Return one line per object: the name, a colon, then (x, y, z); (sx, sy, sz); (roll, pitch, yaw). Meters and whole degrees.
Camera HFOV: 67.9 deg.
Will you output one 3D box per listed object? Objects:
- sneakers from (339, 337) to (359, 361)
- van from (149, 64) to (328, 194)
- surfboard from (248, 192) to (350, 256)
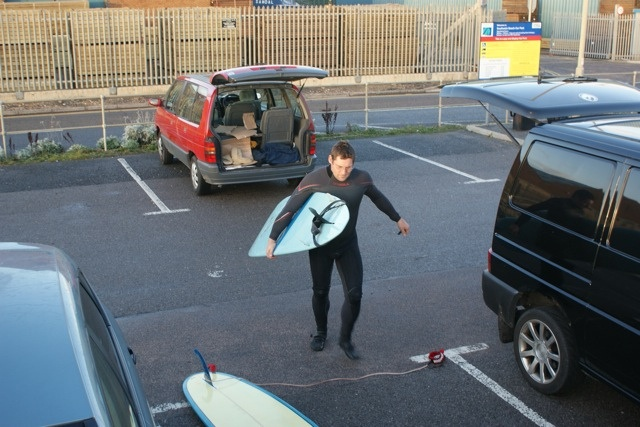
sneakers: (0.317, 1.527, 5.458); (0.116, 0.232, 0.312); (-12, 12, -19)
van: (-2.027, -1.963, 10.818); (4.143, 2.798, 2.442); (11, 24, 33)
surfboard: (-0.272, 0.037, 5.002); (0.591, 0.163, 1.503); (-44, -1, -19)
